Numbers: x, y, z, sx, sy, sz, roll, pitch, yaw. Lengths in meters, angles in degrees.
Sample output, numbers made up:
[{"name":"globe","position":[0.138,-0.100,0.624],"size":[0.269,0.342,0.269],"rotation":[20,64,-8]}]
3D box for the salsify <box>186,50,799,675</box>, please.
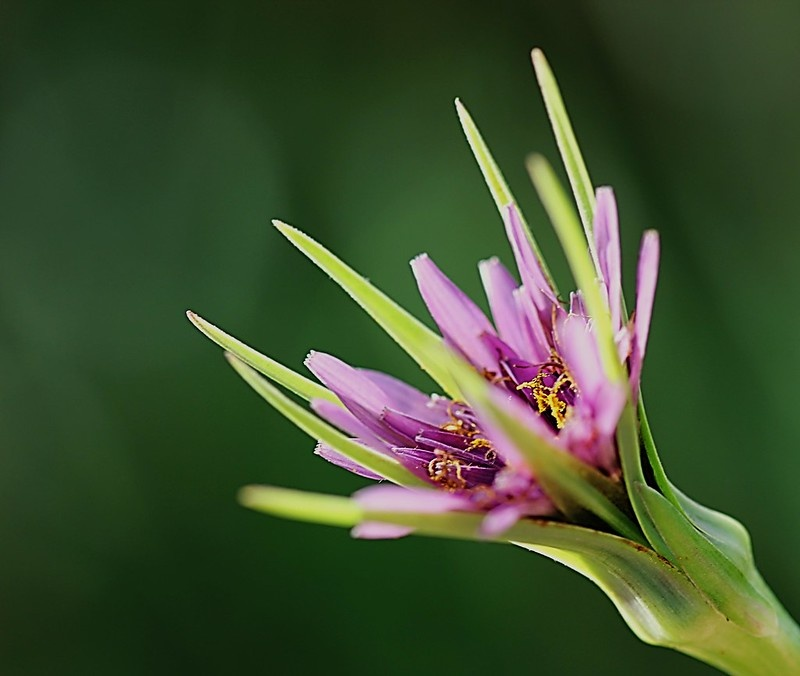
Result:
[{"name":"salsify","position":[0.037,0.032,0.768],"size":[0.393,0.623,0.174],"rotation":[-42,-20,-14]}]
